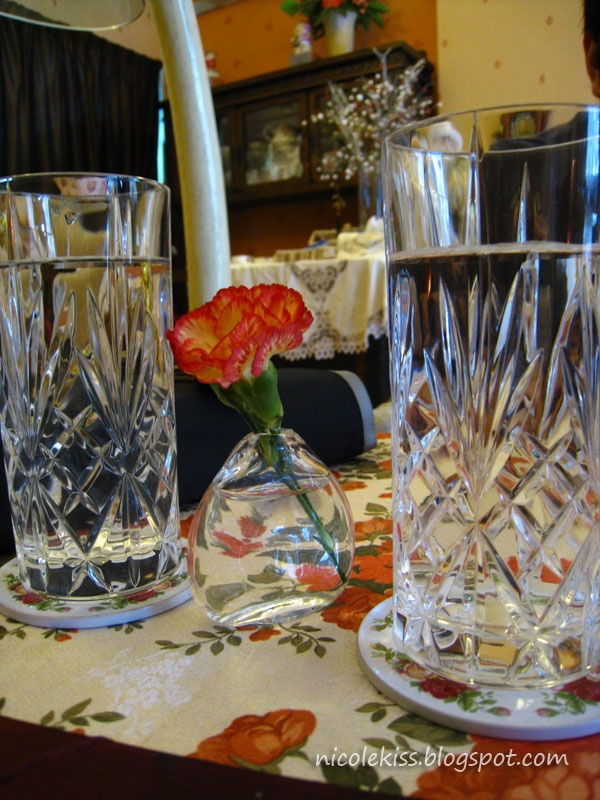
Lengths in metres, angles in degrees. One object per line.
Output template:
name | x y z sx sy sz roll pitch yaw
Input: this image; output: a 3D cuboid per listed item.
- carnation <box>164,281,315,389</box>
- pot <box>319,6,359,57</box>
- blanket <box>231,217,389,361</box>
carnation | -0.025 -0.029 0.305 0.047 0.033 0.052 4 22 43
pot | 0.203 -1.918 3.648 0.178 0.209 0.177 0 6 0
blanket | 0.047 -0.424 2.622 0.561 0.244 0.595 4 33 26
